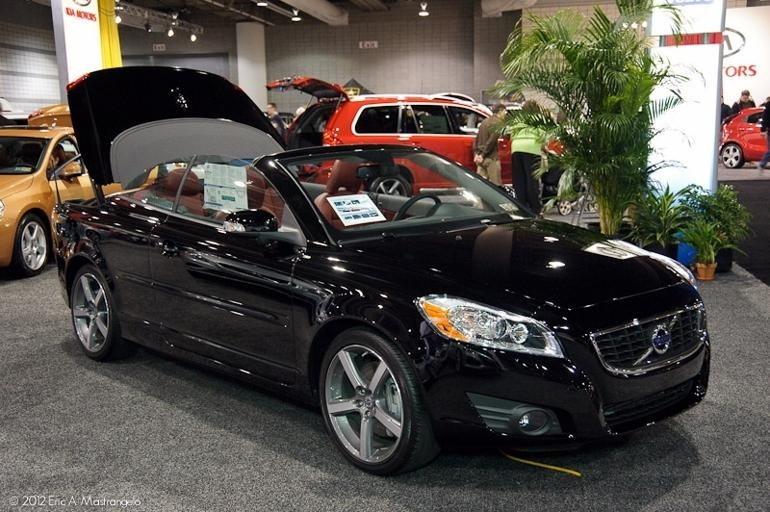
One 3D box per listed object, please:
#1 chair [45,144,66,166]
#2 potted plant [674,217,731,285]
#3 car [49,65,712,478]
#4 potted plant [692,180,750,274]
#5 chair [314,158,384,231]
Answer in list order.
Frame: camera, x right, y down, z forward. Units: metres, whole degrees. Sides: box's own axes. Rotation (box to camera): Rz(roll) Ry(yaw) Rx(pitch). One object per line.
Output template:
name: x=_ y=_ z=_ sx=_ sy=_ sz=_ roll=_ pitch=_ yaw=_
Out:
chair: x=-5.080 y=-1.560 z=7.229 sx=0.172 sy=0.309 sz=0.219 roll=25 pitch=21 yaw=35
potted plant: x=4.317 y=-0.081 z=6.173 sx=0.706 sy=0.696 sz=0.708 roll=-4 pitch=4 yaw=13
car: x=-0.432 y=-0.086 z=3.898 sx=4.961 sy=1.953 sz=2.738 roll=9 pitch=14 yaw=35
potted plant: x=4.555 y=-0.358 z=6.406 sx=0.807 sy=0.936 sz=0.756 roll=8 pitch=-3 yaw=9
chair: x=-0.439 y=-0.424 z=3.513 sx=0.513 sy=0.504 sz=0.400 roll=0 pitch=2 yaw=38
